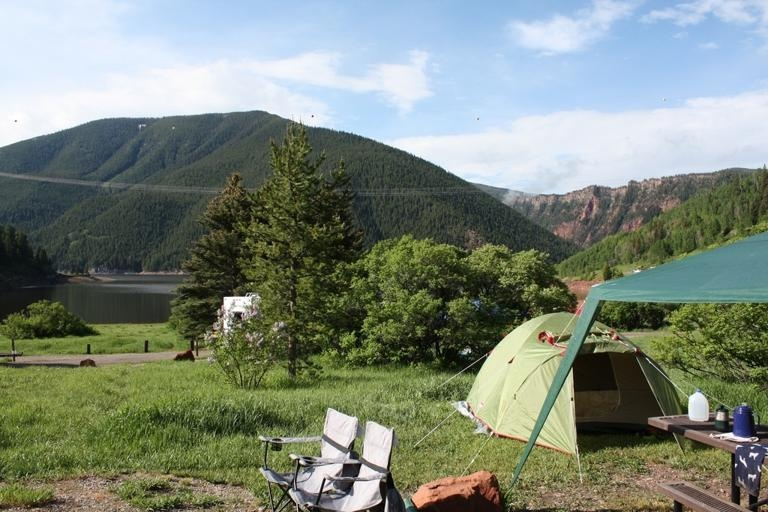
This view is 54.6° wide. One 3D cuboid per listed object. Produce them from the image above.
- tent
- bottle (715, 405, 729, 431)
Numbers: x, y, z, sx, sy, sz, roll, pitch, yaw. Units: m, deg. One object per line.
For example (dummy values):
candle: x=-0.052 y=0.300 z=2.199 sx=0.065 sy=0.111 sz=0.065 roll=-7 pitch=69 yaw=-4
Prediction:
tent: x=5.251 y=3.548 z=21.375 sx=4.895 sy=3.788 sz=2.809 roll=2 pitch=-5 yaw=-12
bottle: x=7.849 y=3.755 z=17.199 sx=0.334 sy=0.536 sz=0.480 roll=-2 pitch=-6 yaw=24
